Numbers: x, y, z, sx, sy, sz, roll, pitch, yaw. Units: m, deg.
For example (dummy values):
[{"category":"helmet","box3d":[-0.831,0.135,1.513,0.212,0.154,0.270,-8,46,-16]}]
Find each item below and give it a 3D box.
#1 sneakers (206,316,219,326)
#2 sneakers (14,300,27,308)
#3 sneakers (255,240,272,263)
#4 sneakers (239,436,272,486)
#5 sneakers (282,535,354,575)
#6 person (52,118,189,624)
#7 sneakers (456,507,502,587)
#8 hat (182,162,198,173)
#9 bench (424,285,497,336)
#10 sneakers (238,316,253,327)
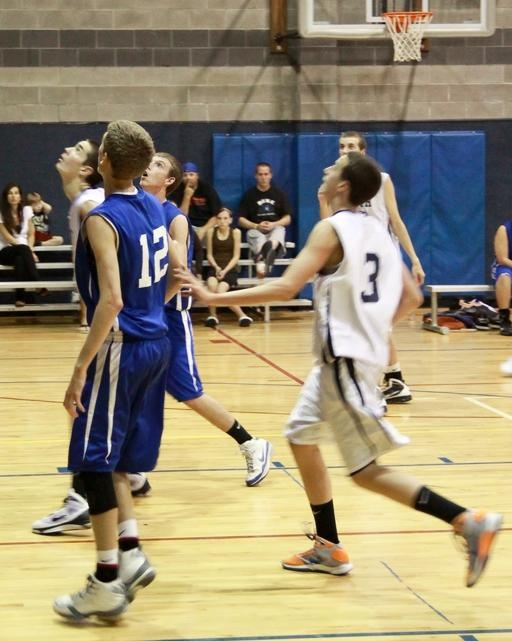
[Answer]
[{"category":"sneakers","box3d":[-0.492,0.013,9.118,0.073,0.060,0.152,0,-24,-2]},{"category":"sneakers","box3d":[-2.695,-0.181,9.308,0.063,0.046,0.159,1,-5,-1]},{"category":"sneakers","box3d":[0.108,-0.801,9.420,0.123,0.280,0.104,11,17,-44]},{"category":"sneakers","box3d":[-0.001,0.608,3.619,0.128,0.247,0.085,34,-46,-14]},{"category":"sneakers","box3d":[0.213,0.769,2.706,0.290,0.136,0.095,2,1,17]},{"category":"person","box3d":[-0.405,0.135,2.352,0.292,1.415,0.465,1,9,8]},{"category":"sneakers","box3d":[0.626,0.647,2.275,0.129,0.211,0.063,0,8,4]},{"category":"hat","box3d":[-0.772,-1.805,9.663,0.169,0.158,0.214,1,-22,-3]},{"category":"bench","box3d":[2.365,-0.113,9.233,0.674,0.268,0.331,-5,11,-33]},{"category":"sneakers","box3d":[-0.118,0.014,9.157,0.129,0.122,0.318,-1,-3,5]}]
